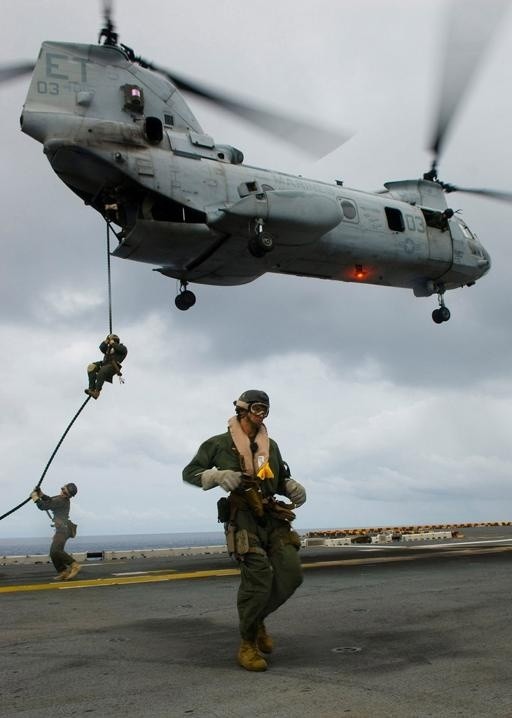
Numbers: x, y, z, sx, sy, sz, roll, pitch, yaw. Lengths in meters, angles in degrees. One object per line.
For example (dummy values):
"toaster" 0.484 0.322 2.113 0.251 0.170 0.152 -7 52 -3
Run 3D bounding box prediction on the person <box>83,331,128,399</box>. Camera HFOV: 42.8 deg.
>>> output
"person" -2.703 0.112 11.821 0.690 1.210 0.788 0 -11 -12

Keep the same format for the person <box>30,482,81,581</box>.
"person" -3.249 2.786 10.618 0.719 1.483 0.908 1 -11 -16

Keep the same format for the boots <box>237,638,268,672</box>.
"boots" -0.021 1.767 3.881 0.134 0.133 0.210 1 -10 -14

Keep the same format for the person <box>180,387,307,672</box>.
"person" -0.059 1.081 4.369 0.773 1.772 0.853 -3 -11 2

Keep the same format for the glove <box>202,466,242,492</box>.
"glove" -0.229 0.784 4.260 0.295 0.137 0.264 -4 -9 16

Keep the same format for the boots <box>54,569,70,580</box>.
"boots" -3.026 3.364 10.184 0.201 0.125 0.553 1 -9 -16
